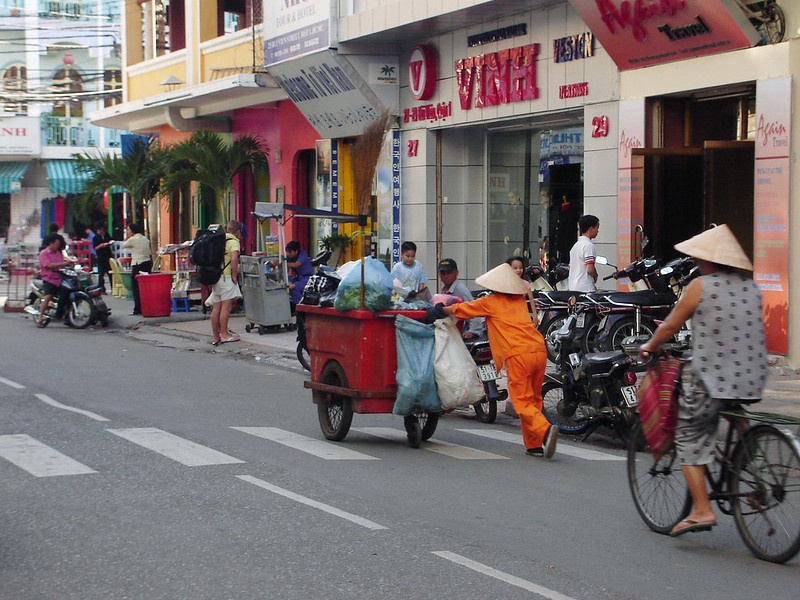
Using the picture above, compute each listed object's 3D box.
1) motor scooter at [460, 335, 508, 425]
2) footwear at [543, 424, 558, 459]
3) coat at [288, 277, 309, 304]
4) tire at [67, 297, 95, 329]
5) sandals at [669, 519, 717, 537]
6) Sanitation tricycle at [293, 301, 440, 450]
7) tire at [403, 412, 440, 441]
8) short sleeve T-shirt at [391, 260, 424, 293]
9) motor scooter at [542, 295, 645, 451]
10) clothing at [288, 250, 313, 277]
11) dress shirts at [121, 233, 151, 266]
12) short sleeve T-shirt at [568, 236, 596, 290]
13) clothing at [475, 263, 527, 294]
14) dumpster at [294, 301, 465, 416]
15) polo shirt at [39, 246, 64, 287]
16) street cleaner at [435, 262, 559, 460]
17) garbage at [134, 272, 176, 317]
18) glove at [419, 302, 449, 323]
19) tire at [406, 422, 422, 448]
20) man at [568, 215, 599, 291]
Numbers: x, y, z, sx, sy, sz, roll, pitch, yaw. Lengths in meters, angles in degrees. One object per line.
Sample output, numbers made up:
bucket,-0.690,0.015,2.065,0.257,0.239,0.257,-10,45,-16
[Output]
motor scooter,1.008,0.989,10.711,0.612,1.048,0.557,-2,9,-26
footwear,1.463,1.383,9.034,0.120,0.346,0.126,-17,26,-41
coat,-1.930,-0.184,18.110,0.376,0.558,0.948,0,3,-7
tire,-6.895,0.264,20.387,0.580,0.662,0.208,6,7,29
sandals,2.064,1.592,6.622,0.329,0.097,0.136,-6,-7,15
Sanitation tricycle,-0.310,0.605,9.903,1.130,1.589,1.310,7,11,43
tire,0.303,1.302,9.903,0.327,0.353,0.090,2,7,-7
short sleeve T-shirt,0.123,-0.300,12.602,0.493,0.495,0.226,0,-9,-18
motor scooter,2.056,0.775,9.948,0.650,1.497,1.920,-13,4,-17
clothing,-1.927,-0.688,18.457,0.496,0.540,0.397,1,-1,17
dress shirts,-6.260,-1.220,22.952,0.652,0.878,0.743,-6,12,-42
short sleeve T-shirt,2.829,-0.549,14.517,0.430,0.822,0.606,-4,8,-11
clothing,0.999,-0.186,9.307,0.347,0.159,0.353,4,9,-17
dumpster,-0.398,0.599,9.959,1.060,1.074,1.582,6,-8,-21
polo shirt,-7.524,-0.720,20.449,0.406,0.815,0.641,13,22,29
street cleaner,0.999,0.506,9.236,1.083,2.016,0.832,-2,3,-36
garbage,-5.624,-0.140,21.789,0.847,1.026,0.891,0,3,28
glove,0.356,0.132,9.235,0.224,0.101,0.152,-17,6,6
tire,0.153,1.381,9.626,0.109,0.221,0.210,-4,13,-17
man,2.857,-0.686,14.354,0.397,1.173,0.613,0,3,-18
